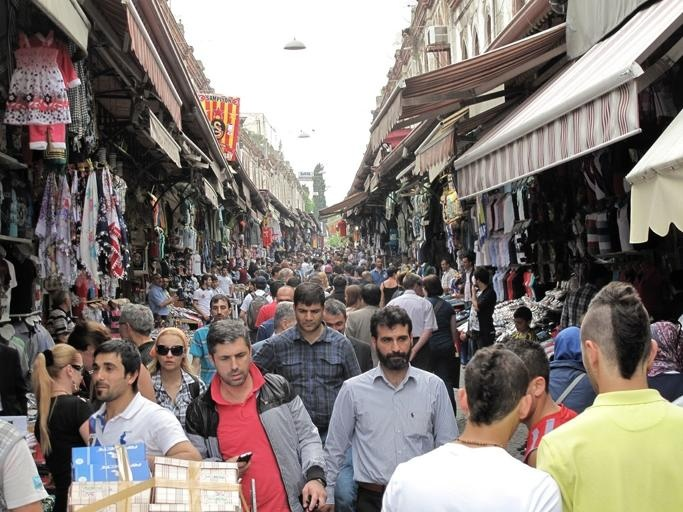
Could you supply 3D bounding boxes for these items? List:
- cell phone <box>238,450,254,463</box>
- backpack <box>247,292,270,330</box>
[{"bbox_3d":[-0.545,1.145,3.410,0.069,0.069,0.143,-1,-7,-6],"label":"cell phone"},{"bbox_3d":[-1.243,0.846,9.080,0.367,0.652,0.562,2,-13,-1],"label":"backpack"}]
